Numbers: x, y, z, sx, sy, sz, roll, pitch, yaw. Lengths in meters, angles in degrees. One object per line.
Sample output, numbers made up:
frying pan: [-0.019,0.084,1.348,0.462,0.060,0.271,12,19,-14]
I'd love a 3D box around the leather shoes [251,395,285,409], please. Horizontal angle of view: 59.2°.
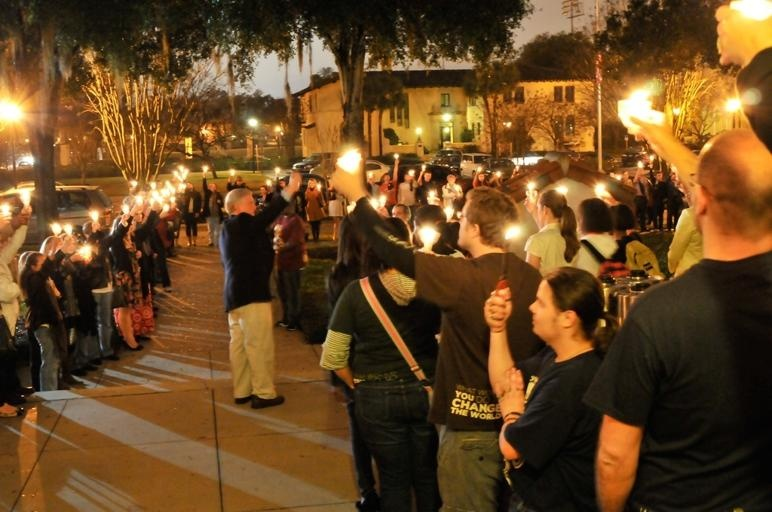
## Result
leather shoes: [-1.355,1.657,7.818,0.383,0.169,0.136,-3,5,-27]

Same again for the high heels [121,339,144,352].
high heels: [-4.121,1.443,10.971,0.440,0.171,0.147,3,17,8]

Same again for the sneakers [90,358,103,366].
sneakers: [-4.348,1.576,10.182,0.116,0.057,0.166,-7,-3,22]

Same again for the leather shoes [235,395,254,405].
leather shoes: [-1.654,1.656,7.836,0.090,0.104,0.262,-5,-12,22]
